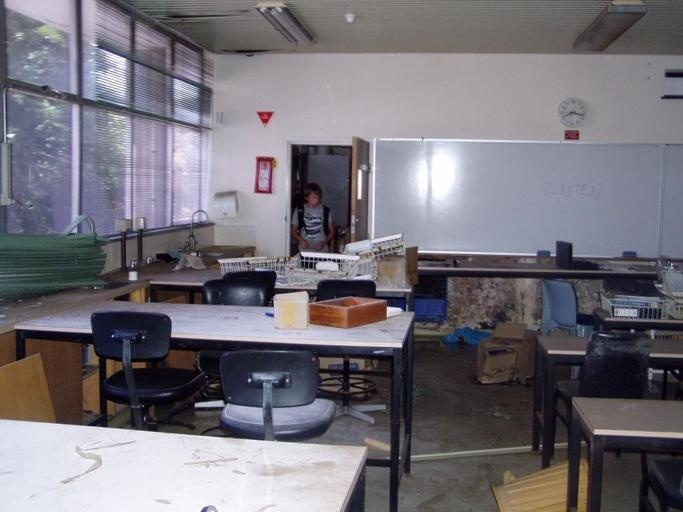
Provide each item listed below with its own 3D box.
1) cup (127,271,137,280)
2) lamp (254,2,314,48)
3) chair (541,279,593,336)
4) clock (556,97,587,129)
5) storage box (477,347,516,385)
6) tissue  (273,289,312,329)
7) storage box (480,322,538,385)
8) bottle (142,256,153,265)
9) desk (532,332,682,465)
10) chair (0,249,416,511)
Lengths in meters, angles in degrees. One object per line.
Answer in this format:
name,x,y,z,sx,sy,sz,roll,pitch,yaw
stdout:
cup,-1.772,0.167,4.664,0.086,0.073,0.081,0,0,0
lamp,-0.569,-2.359,5.606,0.188,0.049,0.627,-3,-6,15
chair,2.096,0.489,5.182,0.464,0.566,0.625,7,10,30
clock,2.855,-1.762,6.832,0.346,0.374,0.075,1,9,-3
storage box,1.493,1.057,5.171,0.384,0.342,0.108,2,3,-3
tissue ,-0.287,0.323,3.272,0.222,0.190,0.207,0,-2,-4
storage box,1.649,0.945,5.480,0.457,0.453,0.671,2,9,23
bottle,-1.970,0.043,5.643,0.069,0.078,0.118,-3,2,14
desk,1.717,0.921,3.786,1.130,0.940,0.827,0,2,17
chair,-0.631,0.836,3.890,2.293,1.080,1.675,3,8,8
